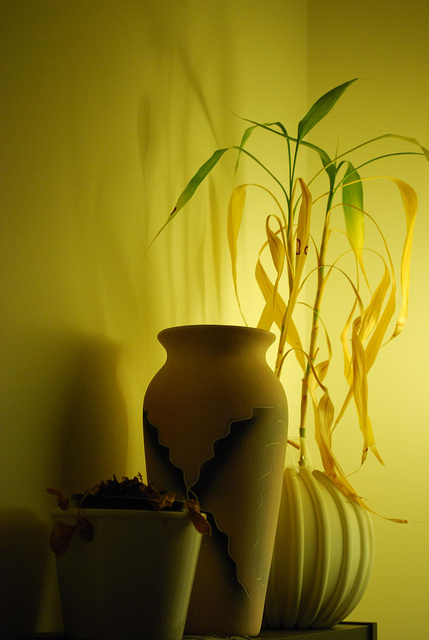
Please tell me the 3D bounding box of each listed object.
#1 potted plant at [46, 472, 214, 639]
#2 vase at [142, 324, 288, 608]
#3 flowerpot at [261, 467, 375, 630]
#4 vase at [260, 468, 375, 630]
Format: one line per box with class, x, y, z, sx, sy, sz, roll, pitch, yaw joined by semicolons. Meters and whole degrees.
potted plant;-0.090;0.219;0.522;0.146;0.133;0.141;5;-6;-8
vase;-0.007;0.177;0.710;0.186;0.339;0.096;4;-5;-9
flowerpot;0.140;0.323;0.953;0.191;0.334;0.218;2;-7;-18
vase;0.141;0.338;0.935;0.178;0.315;0.205;1;-8;-4
